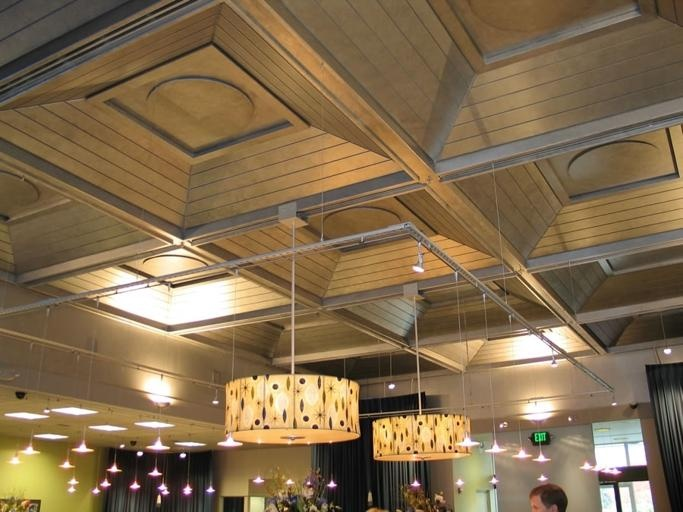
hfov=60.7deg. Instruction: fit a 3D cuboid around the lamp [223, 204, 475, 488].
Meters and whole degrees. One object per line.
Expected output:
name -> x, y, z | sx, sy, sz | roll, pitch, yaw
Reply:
lamp -> 0.268, 0.952, 6.190 | 1.674, 2.161, 3.522 | -8, -24, 14
